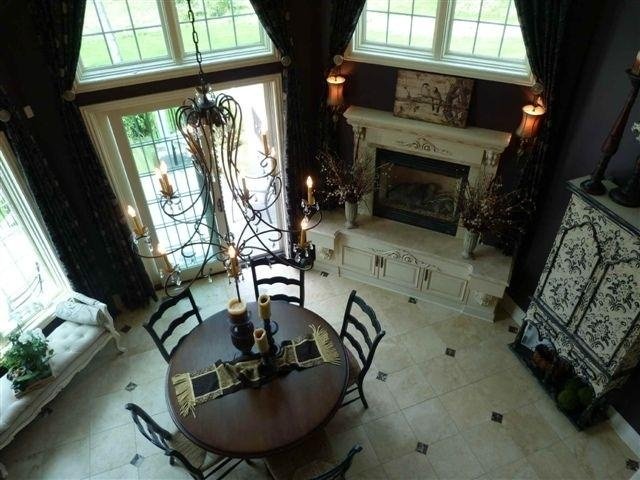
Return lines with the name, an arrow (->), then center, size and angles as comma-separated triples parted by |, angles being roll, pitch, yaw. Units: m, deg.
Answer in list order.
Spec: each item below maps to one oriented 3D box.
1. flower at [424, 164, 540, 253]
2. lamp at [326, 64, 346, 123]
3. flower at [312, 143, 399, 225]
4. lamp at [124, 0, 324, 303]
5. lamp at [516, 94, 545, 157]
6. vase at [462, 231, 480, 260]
flower -> 2.160, -0.277, 5.862 | 0.937, 1.196, 0.994 | 15, 41, 20
lamp -> 0.217, -1.918, 6.002 | 0.245, 0.759, 0.316 | 0, 32, 4
flower -> 0.420, -0.790, 6.626 | 1.026, 1.170, 0.996 | -14, 46, -14
lamp -> -1.205, -1.185, 5.525 | 1.952, 3.388, 1.970 | -21, 26, -10
lamp -> 2.368, -1.271, 5.132 | 0.203, 0.697, 0.204 | 14, 37, 19
vase -> 1.943, 0.075, 5.833 | 0.211, 0.350, 0.200 | 2, 32, -14
